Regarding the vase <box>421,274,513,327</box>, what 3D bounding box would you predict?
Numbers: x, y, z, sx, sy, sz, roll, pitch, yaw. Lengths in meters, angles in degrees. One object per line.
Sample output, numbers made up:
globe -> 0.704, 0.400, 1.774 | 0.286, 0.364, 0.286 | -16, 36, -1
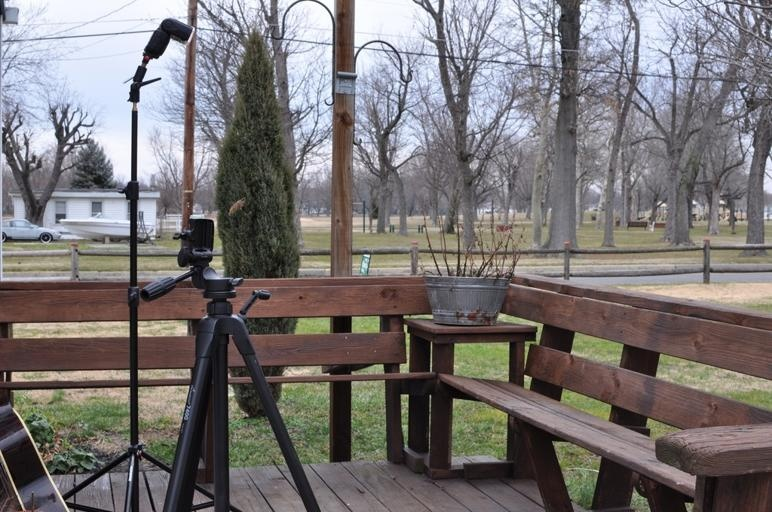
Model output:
vase -> 0.636, 0.331, 6.491 | 0.414, 0.247, 0.458 | 3, -5, -16

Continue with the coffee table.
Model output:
coffee table -> 0.784, 1.112, 6.892 | 1.018, 1.380, 1.076 | 1, -3, -16

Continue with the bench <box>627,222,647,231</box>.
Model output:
bench -> 20.365, -2.447, 68.147 | 1.118, 0.560, 2.338 | -2, 3, -9
